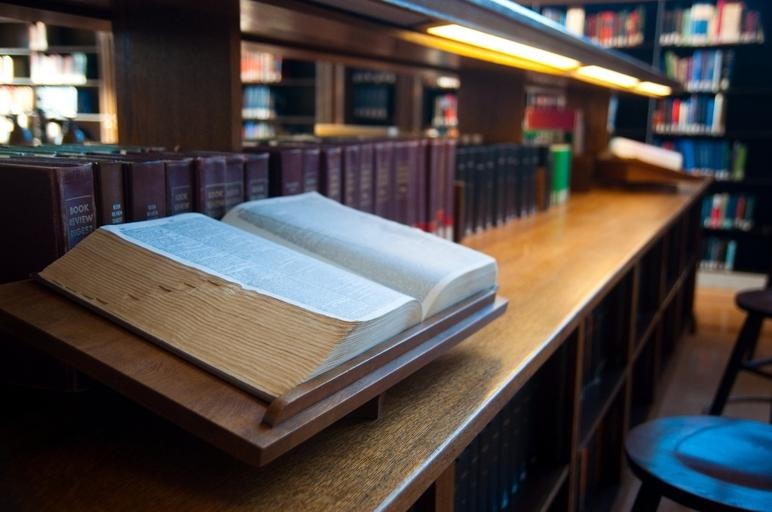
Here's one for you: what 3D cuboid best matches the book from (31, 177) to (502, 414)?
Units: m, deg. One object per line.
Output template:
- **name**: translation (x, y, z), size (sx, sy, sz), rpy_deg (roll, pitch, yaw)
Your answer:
- **book**: translation (-0.139, 0.029, 0.854), size (0.425, 0.166, 0.516), rpy_deg (12, 20, 34)
